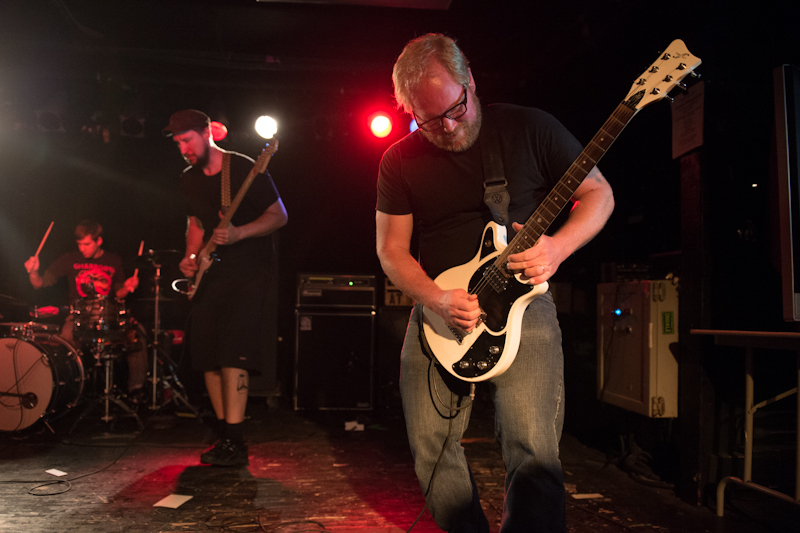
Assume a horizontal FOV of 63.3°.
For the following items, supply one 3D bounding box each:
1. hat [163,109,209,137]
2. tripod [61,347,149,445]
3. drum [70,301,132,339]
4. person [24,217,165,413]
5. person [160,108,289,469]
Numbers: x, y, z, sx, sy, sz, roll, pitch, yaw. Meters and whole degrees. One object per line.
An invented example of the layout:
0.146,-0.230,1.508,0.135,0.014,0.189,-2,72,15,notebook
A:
-1.706,-1.199,5.383,0.401,0.147,0.345,-22,31,-34,hat
-2.972,1.371,6.735,0.857,1.132,0.840,8,-15,-24,tripod
-3.017,0.506,6.538,0.506,0.367,0.362,-2,6,-20,drum
-3.539,0.504,7.393,1.227,2.040,1.137,3,6,16,person
-1.406,0.169,5.424,0.897,2.902,0.597,-1,6,-7,person
